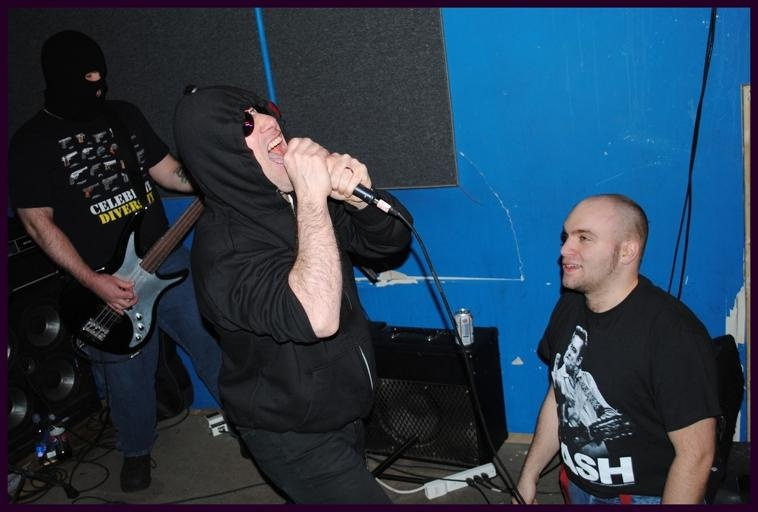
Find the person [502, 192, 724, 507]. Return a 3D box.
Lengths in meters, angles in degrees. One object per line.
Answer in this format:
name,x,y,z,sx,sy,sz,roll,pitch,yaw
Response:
person,1.098,0.476,2.639,0.804,1.337,0.809,6,28,25

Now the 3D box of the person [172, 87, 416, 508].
person,-0.410,0.180,2.441,0.681,1.665,0.939,-14,26,-13

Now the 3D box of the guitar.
guitar,-1.677,0.055,3.945,0.573,0.190,1.495,9,42,-14

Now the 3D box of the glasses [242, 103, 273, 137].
glasses,-0.531,-0.587,2.452,0.154,0.152,0.045,-17,53,-46

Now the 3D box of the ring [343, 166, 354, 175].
ring,-0.127,-0.359,2.420,0.035,0.024,0.034,-1,0,0
